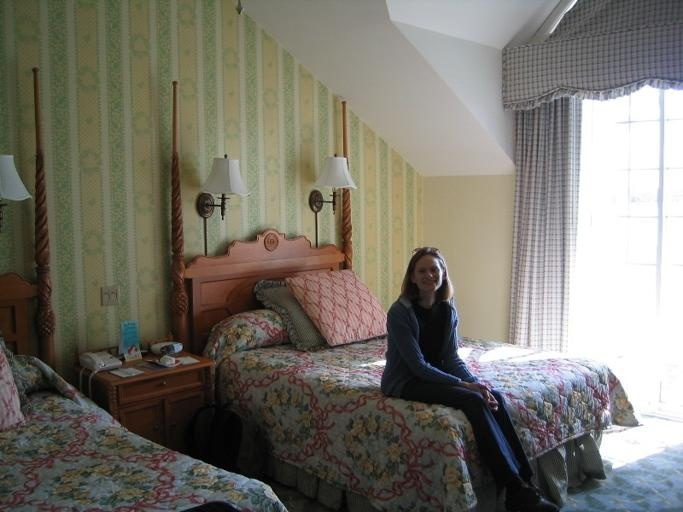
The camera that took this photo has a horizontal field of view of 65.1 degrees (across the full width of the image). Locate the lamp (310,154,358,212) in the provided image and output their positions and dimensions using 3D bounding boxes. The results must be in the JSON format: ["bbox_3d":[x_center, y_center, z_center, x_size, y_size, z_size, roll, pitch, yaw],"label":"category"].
[{"bbox_3d":[-0.100,-0.587,4.540,0.375,0.463,0.441,-1,2,-4],"label":"lamp"}]

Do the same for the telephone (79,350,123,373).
[{"bbox_3d":[-1.541,0.643,3.368,0.179,0.069,0.135,4,4,41],"label":"telephone"}]

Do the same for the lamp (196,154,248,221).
[{"bbox_3d":[-0.889,-0.483,3.931,0.325,0.471,0.317,-2,3,-30],"label":"lamp"}]
